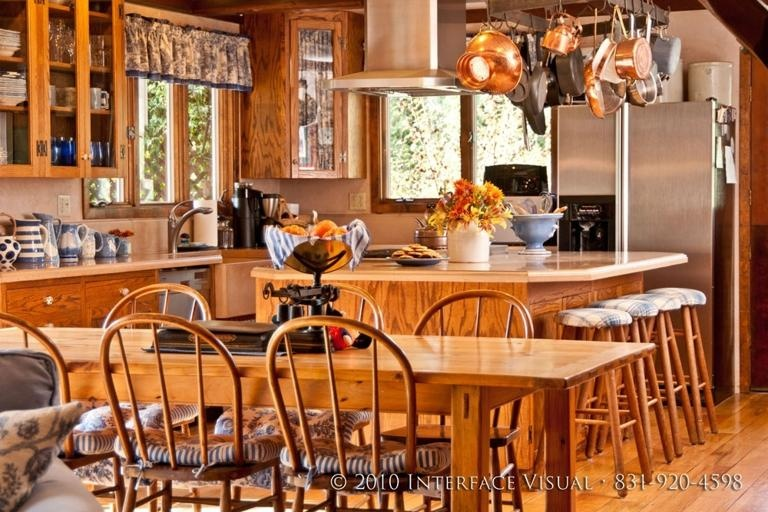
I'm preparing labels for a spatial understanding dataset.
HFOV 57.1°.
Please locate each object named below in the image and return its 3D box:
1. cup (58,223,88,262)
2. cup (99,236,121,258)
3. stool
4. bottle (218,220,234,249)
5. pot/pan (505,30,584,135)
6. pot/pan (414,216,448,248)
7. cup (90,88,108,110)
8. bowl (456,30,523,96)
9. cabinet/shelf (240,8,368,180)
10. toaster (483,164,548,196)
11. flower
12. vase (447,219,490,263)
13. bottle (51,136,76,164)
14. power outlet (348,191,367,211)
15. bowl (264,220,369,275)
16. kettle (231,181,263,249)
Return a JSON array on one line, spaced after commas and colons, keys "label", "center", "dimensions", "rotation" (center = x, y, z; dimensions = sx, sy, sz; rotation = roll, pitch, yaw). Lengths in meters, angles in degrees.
[{"label": "cup", "center": [-2.055, -0.092, 4.701], "dimensions": [0.156, 0.239, 0.204], "rotation": [-1, 4, -3]}, {"label": "cup", "center": [-1.846, -0.065, 4.931], "dimensions": [0.112, 0.149, 0.173], "rotation": [-1, -2, 24]}, {"label": "stool", "center": [1.388, 0.783, 3.960], "dimensions": [0.396, 0.684, 1.134], "rotation": [-2, 3, 28]}, {"label": "bottle", "center": [-1.284, -0.179, 5.825], "dimensions": [0.081, 0.227, 0.220], "rotation": [0, 4, 19]}, {"label": "pot/pan", "center": [0.936, -1.017, 4.132], "dimensions": [0.604, 0.563, 0.137], "rotation": [-26, 24, -17]}, {"label": "pot/pan", "center": [0.298, -0.162, 4.654], "dimensions": [0.244, 0.222, 0.238], "rotation": [0, 1, 24]}, {"label": "cup", "center": [-1.925, -1.077, 4.842], "dimensions": [0.144, 0.126, 0.091], "rotation": [2, -2, -39]}, {"label": "bowl", "center": [0.550, -1.023, 3.728], "dimensions": [0.327, 0.321, 0.162], "rotation": [-1, 4, 5]}, {"label": "cabinet/shelf", "center": [-0.760, -1.474, 6.642], "dimensions": [1.003, 1.443, 0.914], "rotation": [-3, 15, -20]}, {"label": "toaster", "center": [1.182, -0.628, 6.320], "dimensions": [0.512, 0.326, 0.262], "rotation": [1, -11, 10]}, {"label": "flower", "center": [0.484, -0.289, 4.158], "dimensions": [0.503, 0.314, 0.263], "rotation": [0, 4, 17]}, {"label": "vase", "center": [0.510, -0.079, 4.158], "dimensions": [0.252, 0.249, 0.238], "rotation": [1, 2, 13]}, {"label": "bottle", "center": [-2.083, -0.695, 4.654], "dimensions": [0.171, 0.176, 0.166], "rotation": [2, 3, 18]}, {"label": "power outlet", "center": [-0.243, -0.539, 6.841], "dimensions": [0.205, 0.188, 0.026], "rotation": [1, 1, 12]}, {"label": "bowl", "center": [-0.246, -0.050, 2.611], "dimensions": [0.262, 0.105, 0.234], "rotation": [-6, 1, 2]}, {"label": "kettle", "center": [-1.130, -0.340, 5.948], "dimensions": [0.258, 0.536, 0.169], "rotation": [-2, 4, -12]}]
